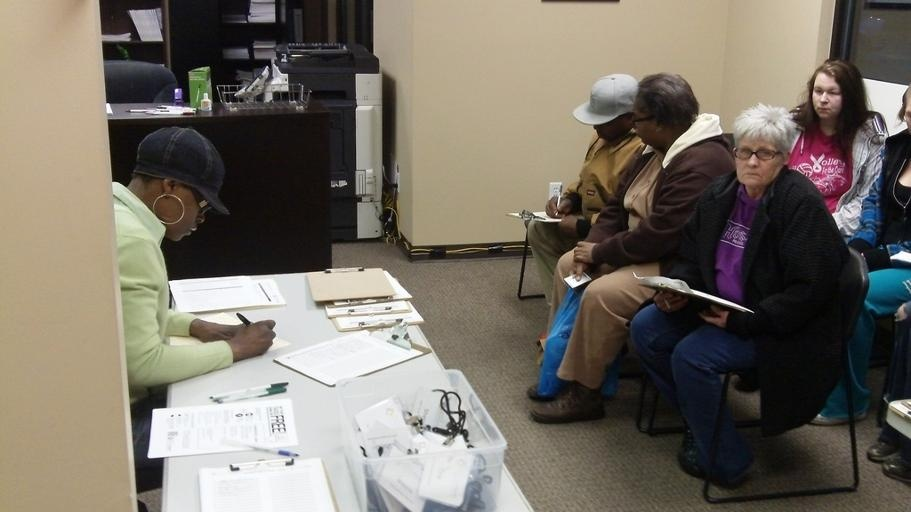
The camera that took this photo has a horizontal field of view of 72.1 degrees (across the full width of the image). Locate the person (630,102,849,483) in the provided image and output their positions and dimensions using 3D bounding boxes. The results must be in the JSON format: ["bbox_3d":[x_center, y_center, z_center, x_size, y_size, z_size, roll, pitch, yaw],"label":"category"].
[{"bbox_3d":[1.257,0.200,2.773,0.675,1.605,0.731,-15,26,-23],"label":"person"}]

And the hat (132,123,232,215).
[{"bbox_3d":[-0.965,-0.340,2.335,0.377,0.217,0.256,25,1,-14],"label":"hat"}]

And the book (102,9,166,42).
[{"bbox_3d":[-3.245,-2.323,6.342,0.537,0.160,0.372,-2,-18,-7],"label":"book"}]

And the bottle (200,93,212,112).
[{"bbox_3d":[-1.632,-1.005,4.067,0.072,0.097,0.141,-12,24,-18],"label":"bottle"}]

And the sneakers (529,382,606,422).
[{"bbox_3d":[0.572,0.743,3.364,0.448,0.264,0.165,2,12,1],"label":"sneakers"}]

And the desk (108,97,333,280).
[{"bbox_3d":[-1.238,-0.376,3.354,1.150,0.983,0.585,-2,23,-10],"label":"desk"}]

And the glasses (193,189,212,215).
[{"bbox_3d":[-0.929,-0.204,2.290,0.064,0.063,0.045,33,6,-43],"label":"glasses"}]

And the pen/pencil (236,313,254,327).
[{"bbox_3d":[-0.800,0.240,2.367,0.057,0.017,0.019,39,-18,-25],"label":"pen/pencil"}]

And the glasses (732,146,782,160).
[{"bbox_3d":[1.304,-0.442,2.691,0.176,0.053,0.048,5,25,18],"label":"glasses"}]

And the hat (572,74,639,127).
[{"bbox_3d":[0.915,-0.901,3.762,0.414,0.190,0.266,-19,44,-5],"label":"hat"}]

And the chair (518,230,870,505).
[{"bbox_3d":[1.130,0.427,3.237,1.168,1.276,1.185,0,7,-2],"label":"chair"}]

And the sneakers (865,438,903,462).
[{"bbox_3d":[2.095,0.940,3.031,0.192,0.078,0.067,1,13,-10],"label":"sneakers"}]

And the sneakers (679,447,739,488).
[{"bbox_3d":[1.164,0.977,2.919,0.101,0.117,0.285,-5,11,-17],"label":"sneakers"}]

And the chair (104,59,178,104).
[{"bbox_3d":[-2.487,-1.382,4.953,0.557,0.304,0.471,-5,23,-4],"label":"chair"}]
